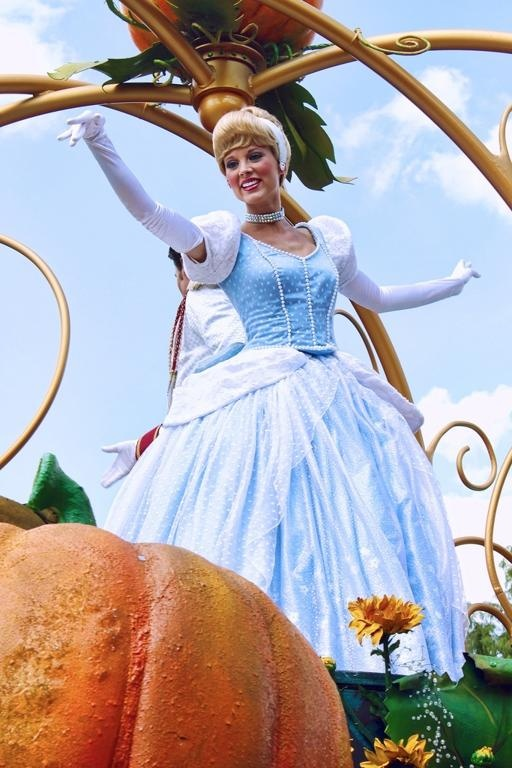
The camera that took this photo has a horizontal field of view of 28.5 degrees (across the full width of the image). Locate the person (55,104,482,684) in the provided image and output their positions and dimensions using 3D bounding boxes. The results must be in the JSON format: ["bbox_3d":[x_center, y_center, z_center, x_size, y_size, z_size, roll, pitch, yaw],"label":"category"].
[{"bbox_3d":[-0.011,0.077,2.522,0.947,1.491,0.910,-8,-10,27],"label":"person"}]
